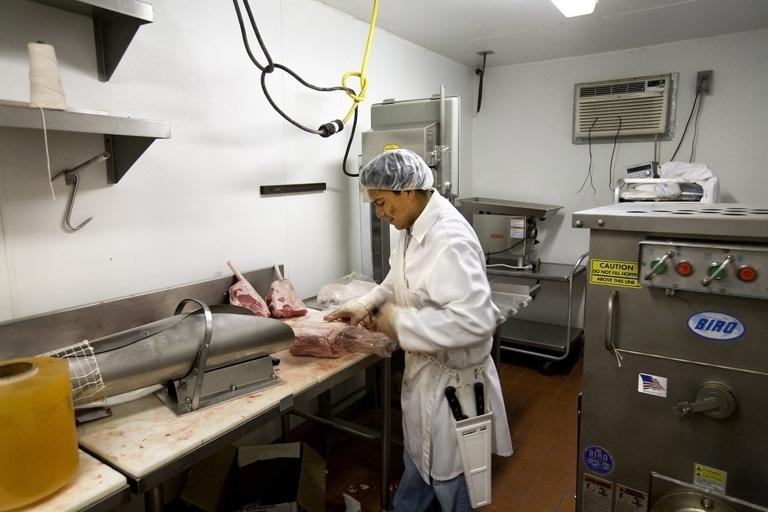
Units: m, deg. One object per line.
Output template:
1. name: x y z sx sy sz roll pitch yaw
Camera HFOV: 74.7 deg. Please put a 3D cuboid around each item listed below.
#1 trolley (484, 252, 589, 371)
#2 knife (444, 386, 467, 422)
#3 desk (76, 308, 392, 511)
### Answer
1. trolley: 1.323 0.465 4.794 1.116 1.017 0.688 3 7 34
2. knife: 0.334 0.687 2.341 0.107 0.150 0.048 3 13 10
3. desk: -0.675 0.340 2.058 0.637 0.736 1.123 5 6 37
